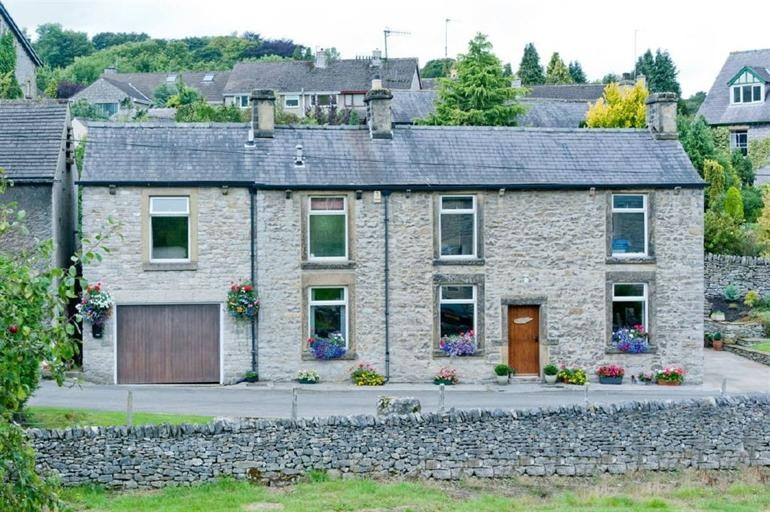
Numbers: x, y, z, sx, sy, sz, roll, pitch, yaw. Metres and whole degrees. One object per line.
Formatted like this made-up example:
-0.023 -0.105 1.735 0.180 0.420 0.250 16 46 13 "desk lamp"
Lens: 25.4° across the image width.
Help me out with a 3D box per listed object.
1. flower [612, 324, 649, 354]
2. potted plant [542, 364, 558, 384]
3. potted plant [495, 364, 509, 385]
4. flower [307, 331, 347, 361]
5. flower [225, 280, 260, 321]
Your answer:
11.463 3.927 79.975 1.459 0.781 1.382 -15 32 -27 "flower"
7.677 5.631 79.970 0.792 0.915 0.849 2 -1 19 "potted plant"
5.375 5.574 79.483 0.767 0.916 0.396 0 12 2 "potted plant"
-2.692 4.252 79.027 1.286 0.708 1.300 1 48 2 "flower"
-6.602 2.125 78.615 1.451 1.801 0.726 -1 12 -6 "flower"
